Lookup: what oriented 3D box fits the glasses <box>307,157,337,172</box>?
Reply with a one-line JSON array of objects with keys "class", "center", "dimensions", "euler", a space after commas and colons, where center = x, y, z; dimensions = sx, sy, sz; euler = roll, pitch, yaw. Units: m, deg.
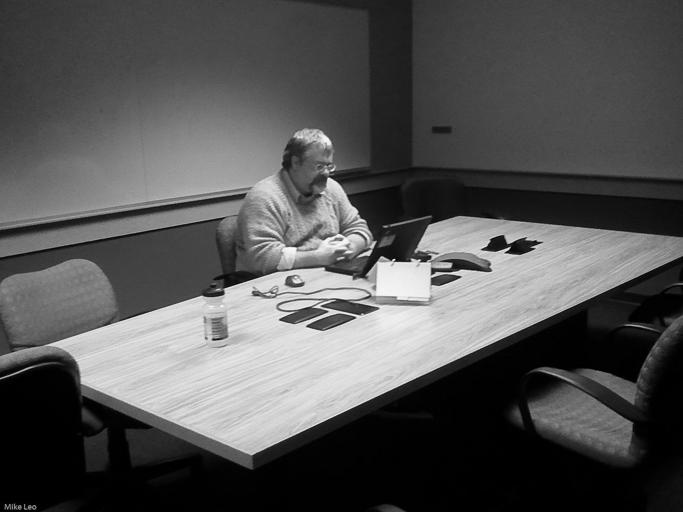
[{"class": "glasses", "center": [-0.104, -0.502, 2.723], "dimensions": [0.160, 0.081, 0.055], "euler": [-11, 17, -30]}]

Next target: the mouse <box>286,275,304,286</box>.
[{"class": "mouse", "center": [-0.212, 0.115, 2.316], "dimensions": [0.046, 0.030, 0.074], "euler": [-14, 16, -39]}]

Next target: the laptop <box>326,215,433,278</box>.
[{"class": "laptop", "center": [0.211, -0.082, 2.455], "dimensions": [0.374, 0.281, 0.385], "euler": [17, 22, 40]}]

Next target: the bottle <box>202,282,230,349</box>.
[{"class": "bottle", "center": [-0.452, 0.191, 1.733], "dimensions": [0.091, 0.220, 0.184], "euler": [-7, 16, -14]}]

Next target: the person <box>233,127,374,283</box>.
[{"class": "person", "center": [-0.200, -0.320, 2.942], "dimensions": [0.943, 0.872, 0.783], "euler": [-12, 23, -40]}]
